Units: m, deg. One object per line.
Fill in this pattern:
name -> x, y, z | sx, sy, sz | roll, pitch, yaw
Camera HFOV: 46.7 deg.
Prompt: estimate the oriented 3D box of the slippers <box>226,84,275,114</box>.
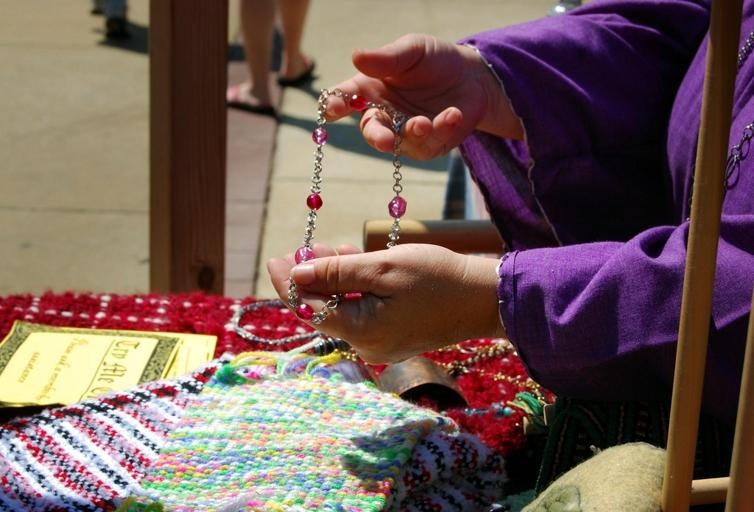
slippers -> -0.424, -0.573, 3.137 | 0.051, 0.059, 0.151 | 31, 7, 38
